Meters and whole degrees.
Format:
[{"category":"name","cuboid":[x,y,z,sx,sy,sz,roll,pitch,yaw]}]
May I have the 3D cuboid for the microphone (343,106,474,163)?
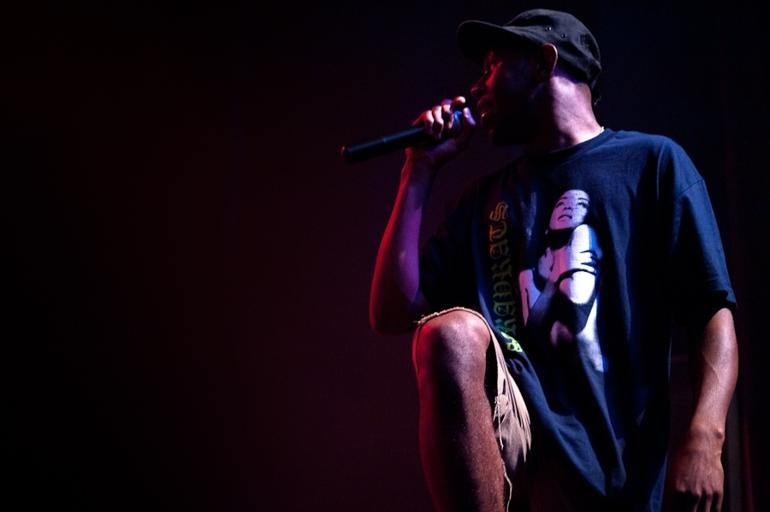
[{"category":"microphone","cuboid":[0.102,-0.424,3.066,0.414,0.088,0.094,-22,-43,-23]}]
